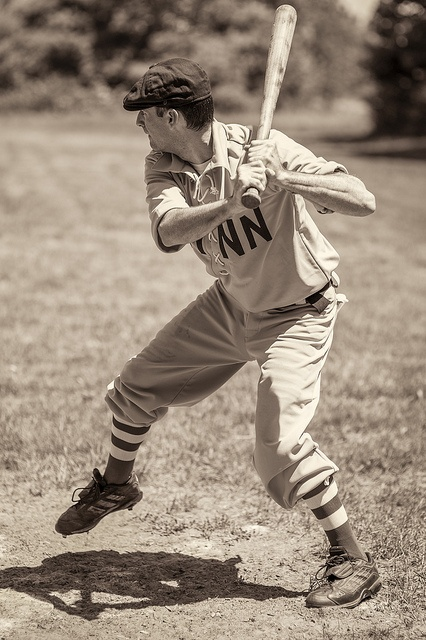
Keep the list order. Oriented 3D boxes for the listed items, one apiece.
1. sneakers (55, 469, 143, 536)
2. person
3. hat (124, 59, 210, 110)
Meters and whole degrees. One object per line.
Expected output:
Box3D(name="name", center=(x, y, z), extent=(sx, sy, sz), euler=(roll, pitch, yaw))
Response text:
Box3D(name="sneakers", center=(-0.523, 0.793, 4.084), extent=(0.462, 0.220, 0.158), euler=(-17, 27, -33))
Box3D(name="person", center=(0.114, 0.088, 3.696), extent=(1.320, 2.147, 0.645), euler=(17, 20, 30))
Box3D(name="hat", center=(-0.180, -0.906, 3.512), extent=(0.379, 0.155, 0.258), euler=(-8, 29, -1))
